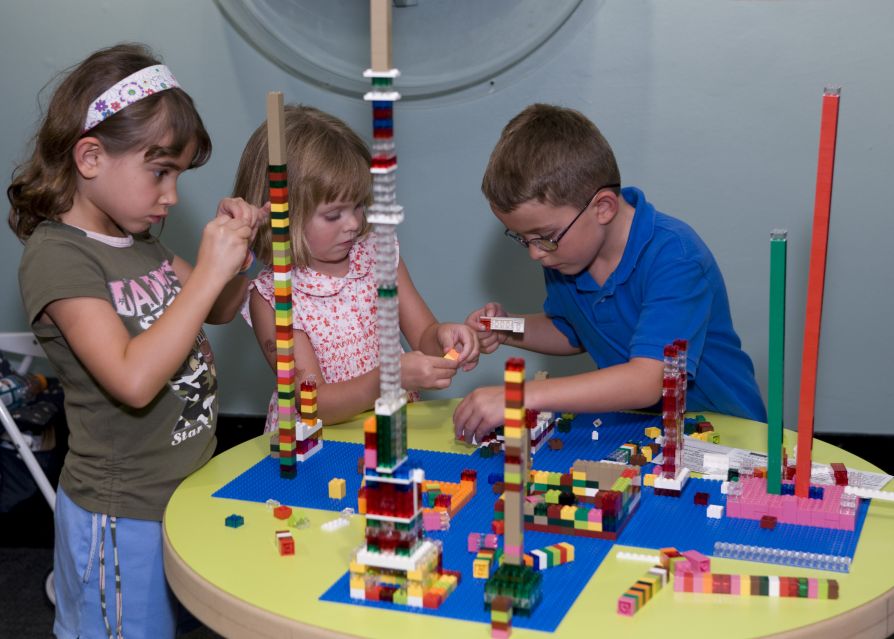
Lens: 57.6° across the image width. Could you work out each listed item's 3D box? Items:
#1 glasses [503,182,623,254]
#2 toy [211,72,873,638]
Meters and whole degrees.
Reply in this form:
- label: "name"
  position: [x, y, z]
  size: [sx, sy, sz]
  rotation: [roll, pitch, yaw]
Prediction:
- label: "glasses"
  position: [0.240, -0.238, 1.709]
  size: [0.186, 0.057, 0.182]
  rotation: [-44, 18, -8]
- label: "toy"
  position: [0.169, -0.028, 1.575]
  size: [0.965, 0.667, 1.024]
  rotation: [7, 13, 33]
